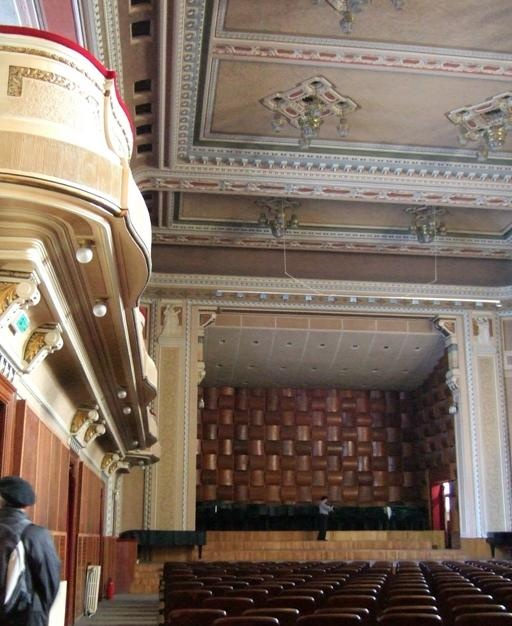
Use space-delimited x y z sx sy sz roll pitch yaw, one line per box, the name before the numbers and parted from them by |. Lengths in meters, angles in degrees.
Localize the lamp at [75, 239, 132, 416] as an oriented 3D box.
lamp | -1.376 0.144 5.645 0.243 1.856 0.473 -16 31 -21
